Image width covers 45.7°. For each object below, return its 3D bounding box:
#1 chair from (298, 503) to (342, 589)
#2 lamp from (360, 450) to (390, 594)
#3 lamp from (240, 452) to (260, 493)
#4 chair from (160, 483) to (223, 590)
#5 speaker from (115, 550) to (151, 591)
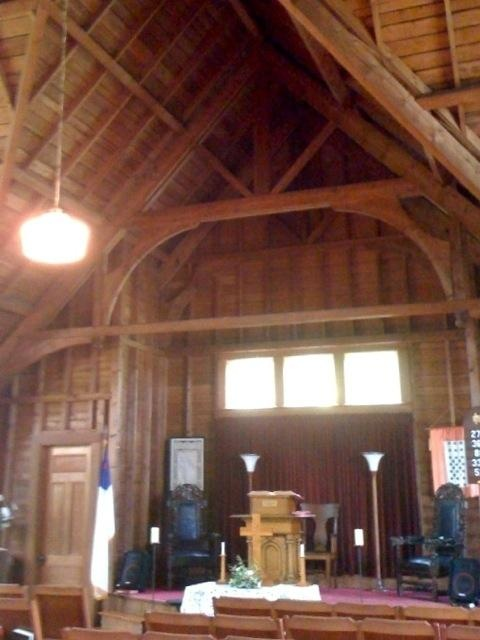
[{"bbox_3d":[1.142,3.136,7.936,0.531,1.099,0.423,-4,-16,7],"label":"chair"},{"bbox_3d":[1.864,2.659,7.625,0.267,1.718,0.851,-5,-16,12],"label":"lamp"},{"bbox_3d":[0.144,2.232,8.352,0.296,0.569,0.827,-2,-16,0],"label":"lamp"},{"bbox_3d":[-0.700,3.056,8.172,0.794,1.327,1.007,0,-16,-7],"label":"chair"},{"bbox_3d":[-1.367,3.266,7.449,0.363,0.480,0.144,-6,-37,19],"label":"speaker"}]
